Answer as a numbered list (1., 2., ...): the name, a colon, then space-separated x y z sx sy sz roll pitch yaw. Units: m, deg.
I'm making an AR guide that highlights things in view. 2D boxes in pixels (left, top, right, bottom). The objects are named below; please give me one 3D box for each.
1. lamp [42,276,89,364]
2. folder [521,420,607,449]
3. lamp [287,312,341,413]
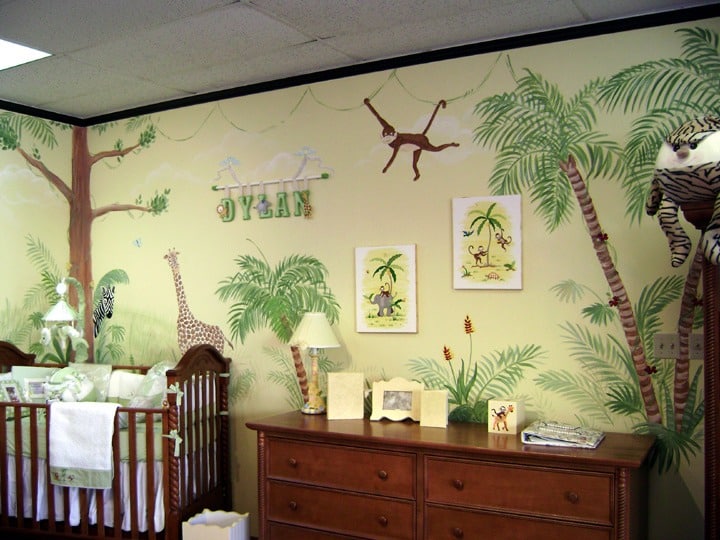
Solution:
1. lamp: -2.267 0.423 4.284 0.257 0.624 0.274 -2 0 -24
2. folder: 1.090 0.876 3.055 0.404 0.081 0.368 -3 -7 24
3. lamp: -0.296 0.604 3.778 0.323 0.651 0.403 0 -6 -4
